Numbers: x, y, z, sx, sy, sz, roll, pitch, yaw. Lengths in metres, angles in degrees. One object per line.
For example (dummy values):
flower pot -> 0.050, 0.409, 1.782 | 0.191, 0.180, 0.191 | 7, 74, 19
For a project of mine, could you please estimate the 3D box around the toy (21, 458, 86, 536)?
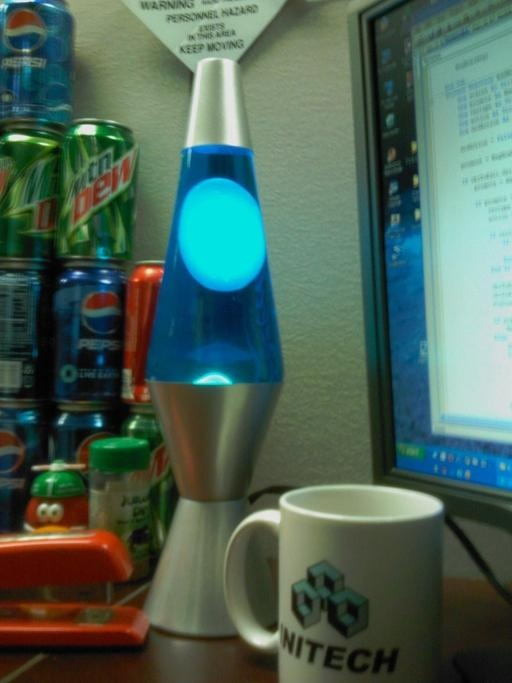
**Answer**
toy -> -0.151, 0.116, 0.466 | 0.047, 0.049, 0.047 | 2, 4, 5
